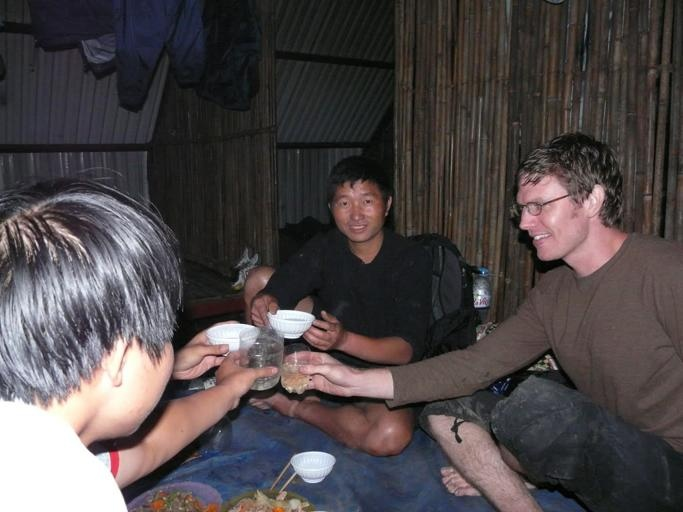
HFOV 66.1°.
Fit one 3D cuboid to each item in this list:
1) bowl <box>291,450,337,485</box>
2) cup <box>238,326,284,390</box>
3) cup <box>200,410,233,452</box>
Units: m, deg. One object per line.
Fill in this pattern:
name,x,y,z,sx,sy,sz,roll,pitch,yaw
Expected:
bowl,-0.174,1.092,2.673,0.207,0.091,0.211,5,3,0
cup,-0.376,0.471,2.397,0.224,0.281,0.243,-1,1,0
cup,-0.697,0.975,2.945,0.196,0.260,0.279,1,-15,1
